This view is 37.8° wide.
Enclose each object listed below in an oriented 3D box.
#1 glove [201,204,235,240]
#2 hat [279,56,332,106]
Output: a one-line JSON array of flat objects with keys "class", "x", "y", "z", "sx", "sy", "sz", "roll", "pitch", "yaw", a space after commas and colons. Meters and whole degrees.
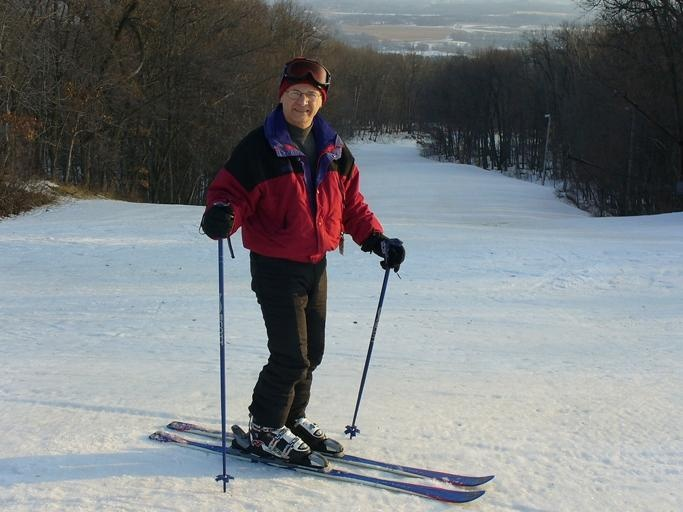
[{"class": "glove", "x": -1.565, "y": -0.450, "z": 12.717, "sx": 0.424, "sy": 0.462, "sz": 0.153, "roll": 3, "pitch": 4, "yaw": -2}, {"class": "hat", "x": -0.464, "y": -2.323, "z": 12.926, "sx": 0.476, "sy": 0.588, "sz": 0.314, "roll": 9, "pitch": 34, "yaw": -3}]
